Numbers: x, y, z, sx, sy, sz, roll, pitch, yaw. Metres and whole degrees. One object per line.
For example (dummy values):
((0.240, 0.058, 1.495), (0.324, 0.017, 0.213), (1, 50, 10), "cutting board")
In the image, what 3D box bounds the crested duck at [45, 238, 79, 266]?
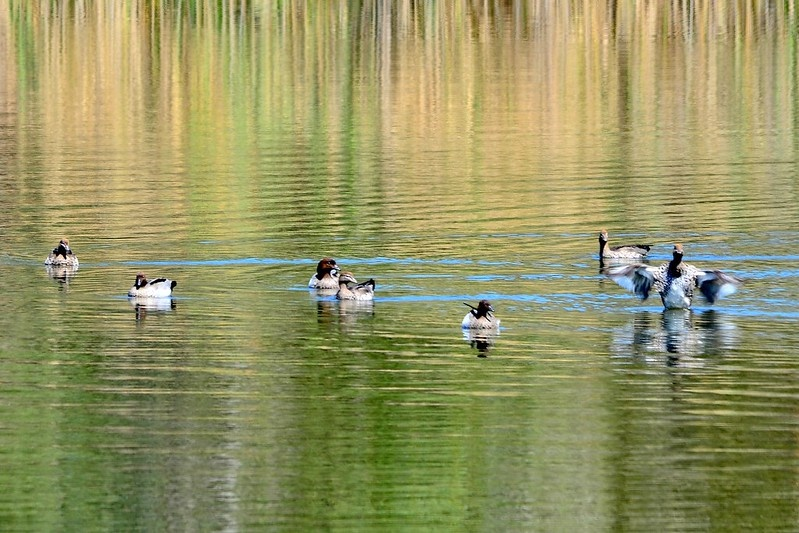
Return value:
((-13.083, -0.458, 55.641), (1.271, 1.030, 0.965), (-2, -10, 7), "crested duck")

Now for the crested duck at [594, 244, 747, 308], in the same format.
((9.246, 0.590, 48.507), (4.518, 1.881, 2.312), (4, -48, 17), "crested duck")

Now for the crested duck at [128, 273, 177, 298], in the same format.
((-8.713, 0.716, 51.256), (1.437, 0.905, 0.754), (-5, -11, 23), "crested duck")

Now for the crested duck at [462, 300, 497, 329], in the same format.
((2.538, 1.617, 47.183), (1.198, 0.944, 1.225), (-1, -9, 2), "crested duck")
